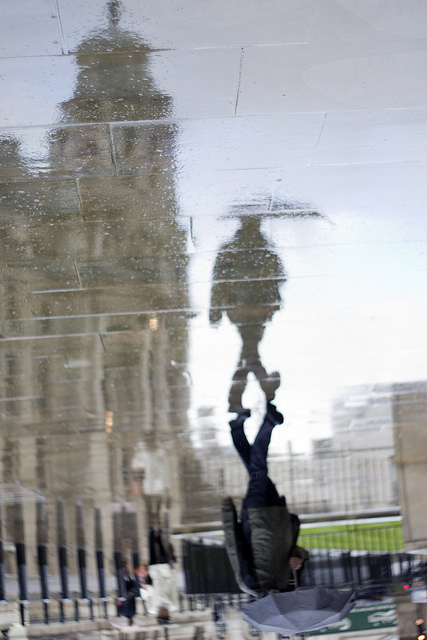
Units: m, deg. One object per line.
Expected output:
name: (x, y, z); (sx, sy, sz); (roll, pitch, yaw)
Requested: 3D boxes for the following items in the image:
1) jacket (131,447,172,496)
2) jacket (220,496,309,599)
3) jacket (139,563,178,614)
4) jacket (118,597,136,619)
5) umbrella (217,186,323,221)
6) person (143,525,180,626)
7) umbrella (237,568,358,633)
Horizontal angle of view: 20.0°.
jacket: (-0.605, 1.497, 11.810); (0.401, 0.509, 0.408); (-3, -6, 5)
jacket: (0.382, 1.843, 9.813); (0.301, 0.778, 0.827); (-7, -4, 41)
jacket: (-0.521, 2.557, 11.369); (0.329, 0.392, 0.244); (-17, -14, 22)
jacket: (-0.801, 2.720, 11.377); (0.137, 0.170, 0.249); (-1, -11, -24)
umbrella: (0.406, -0.828, 8.822); (0.459, 0.147, 0.322); (10, 15, -13)
person: (-0.482, 2.388, 11.511); (0.246, 0.682, 0.190); (-15, -3, 24)
umbrella: (0.735, 2.376, 9.901); (0.694, 0.273, 0.677); (-1, -13, -29)
